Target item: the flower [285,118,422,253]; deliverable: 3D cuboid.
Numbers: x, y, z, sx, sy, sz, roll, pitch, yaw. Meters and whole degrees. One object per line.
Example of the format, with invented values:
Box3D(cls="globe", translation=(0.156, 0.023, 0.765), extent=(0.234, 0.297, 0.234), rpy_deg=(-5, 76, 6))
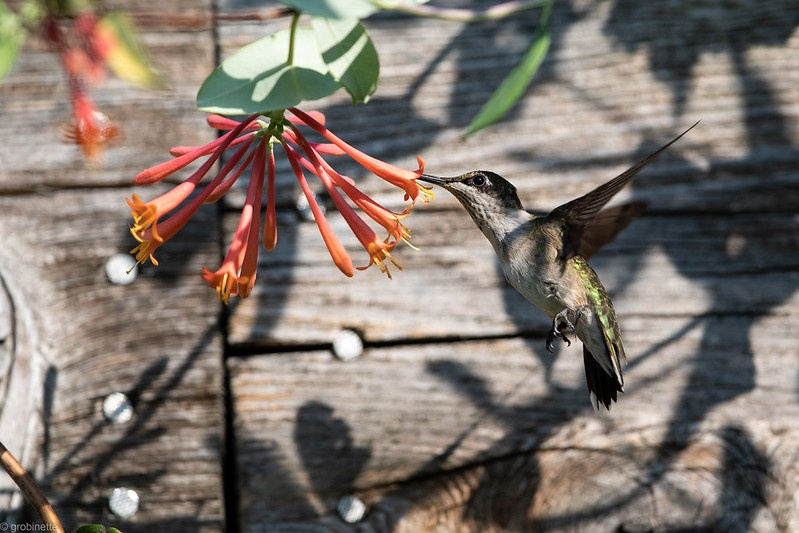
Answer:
Box3D(cls="flower", translation=(-0.151, -0.265, 4.107), extent=(0.517, 0.231, 0.290), rpy_deg=(30, 13, 5))
